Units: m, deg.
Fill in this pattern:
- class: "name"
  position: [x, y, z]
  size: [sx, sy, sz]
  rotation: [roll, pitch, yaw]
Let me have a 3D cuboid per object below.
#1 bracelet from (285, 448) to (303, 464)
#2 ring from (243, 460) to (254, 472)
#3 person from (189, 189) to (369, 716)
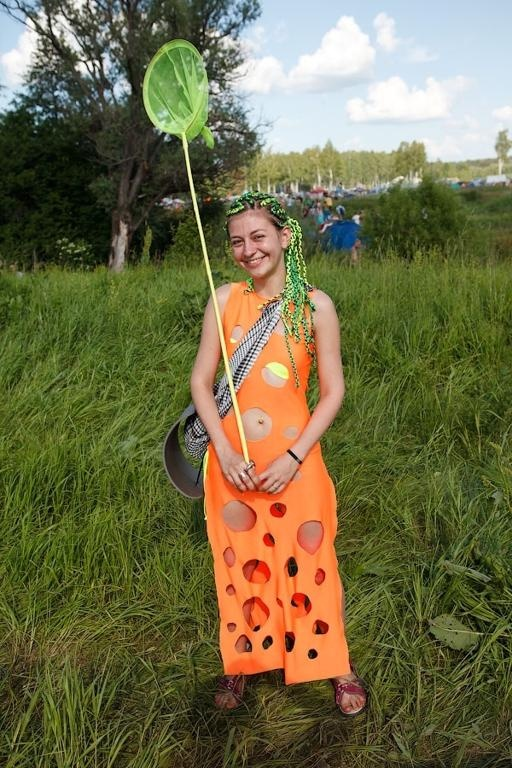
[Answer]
- class: "bracelet"
  position: [0.099, 0.185, 1.521]
  size: [0.010, 0.036, 0.037]
  rotation: [-44, -4, -5]
- class: "ring"
  position: [-0.018, 0.208, 1.518]
  size: [0.022, 0.018, 0.050]
  rotation: [0, 14, 5]
- class: "person"
  position: [0.054, 0.213, 1.644]
  size: [0.479, 1.445, 0.519]
  rotation: [-3, 13, -7]
